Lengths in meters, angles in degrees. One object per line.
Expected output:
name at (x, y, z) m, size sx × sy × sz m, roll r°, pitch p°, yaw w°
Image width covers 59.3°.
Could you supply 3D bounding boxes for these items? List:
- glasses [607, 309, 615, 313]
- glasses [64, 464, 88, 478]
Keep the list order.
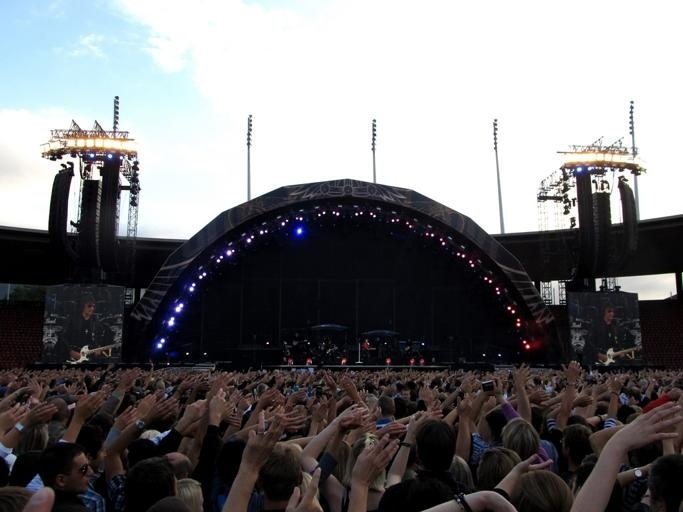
glasses at (13.245, 2.705, 29.537) m, size 0.168 × 0.154 × 0.193 m, roll 3°, pitch -4°, yaw -2°
glasses at (-2.108, 1.719, 4.808) m, size 0.139 × 0.077 × 0.105 m, roll -10°, pitch -6°, yaw 16°
